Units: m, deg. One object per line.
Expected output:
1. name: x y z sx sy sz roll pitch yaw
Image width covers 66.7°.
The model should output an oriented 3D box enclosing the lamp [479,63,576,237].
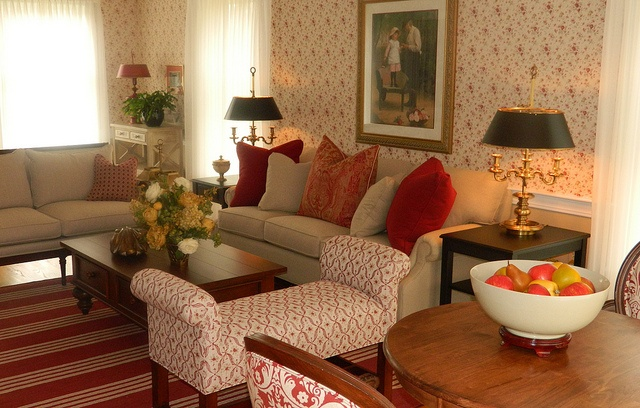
1. lamp: 1.574 -0.417 3.707 0.686 1.300 0.700 0 8 -11

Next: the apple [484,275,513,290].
1. apple: 0.734 0.326 1.977 0.070 0.072 0.072 -9 -15 27

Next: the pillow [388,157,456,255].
1. pillow: 0.855 -0.030 4.242 0.507 0.715 0.829 9 18 6

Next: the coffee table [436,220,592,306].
1. coffee table: 1.475 0.276 3.724 0.943 0.869 0.684 -9 15 -36

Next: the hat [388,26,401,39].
1. hat: 0.761 -1.770 4.954 0.123 0.074 0.141 -1 11 11

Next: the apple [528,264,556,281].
1. apple: 0.937 0.283 2.044 0.078 0.070 0.078 -17 -25 30

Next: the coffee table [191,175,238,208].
1. coffee table: -1.232 -0.237 5.780 0.513 0.481 0.441 -5 11 -33

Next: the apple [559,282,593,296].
1. apple: 1.020 0.338 1.920 0.141 0.041 0.062 0 15 -3

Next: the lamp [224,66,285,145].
1. lamp: -0.831 -1.144 5.754 0.688 0.930 0.685 -1 13 -13

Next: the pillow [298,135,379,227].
1. pillow: 0.155 -0.215 4.850 0.438 0.814 0.867 -8 15 -39

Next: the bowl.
1. bowl: 0.823 0.409 1.987 0.408 0.178 0.398 2 1 0

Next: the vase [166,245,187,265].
1. vase: -1.110 0.381 3.732 0.151 0.119 0.154 0 4 -37

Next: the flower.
1. flower: -1.121 0.104 3.748 0.619 0.548 0.547 -2 -4 -40

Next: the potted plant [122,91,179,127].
1. potted plant: -2.754 -1.599 8.067 0.887 0.591 0.766 1 3 21

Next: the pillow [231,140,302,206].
1. pillow: -0.651 -0.340 5.390 0.738 0.688 0.229 -3 -13 26

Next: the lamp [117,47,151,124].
1. lamp: -3.202 -1.997 8.304 0.552 1.131 0.566 6 9 33

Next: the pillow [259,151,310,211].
1. pillow: -0.372 -0.233 5.031 0.572 0.519 0.172 8 -3 -4
